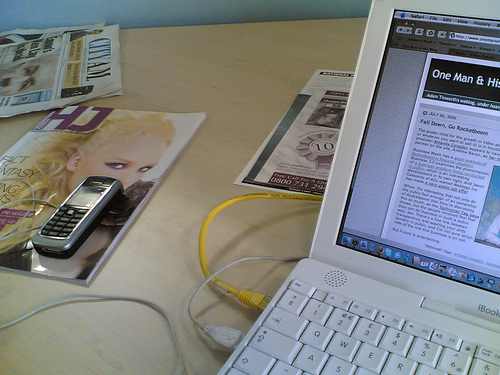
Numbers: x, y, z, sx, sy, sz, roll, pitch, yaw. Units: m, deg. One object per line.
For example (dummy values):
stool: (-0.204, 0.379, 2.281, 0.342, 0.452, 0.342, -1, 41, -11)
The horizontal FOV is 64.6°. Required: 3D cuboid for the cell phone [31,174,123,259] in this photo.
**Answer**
cell phone: (-0.254, 0.045, 0.647, 0.087, 0.040, 0.153, 15, 41, 22)
